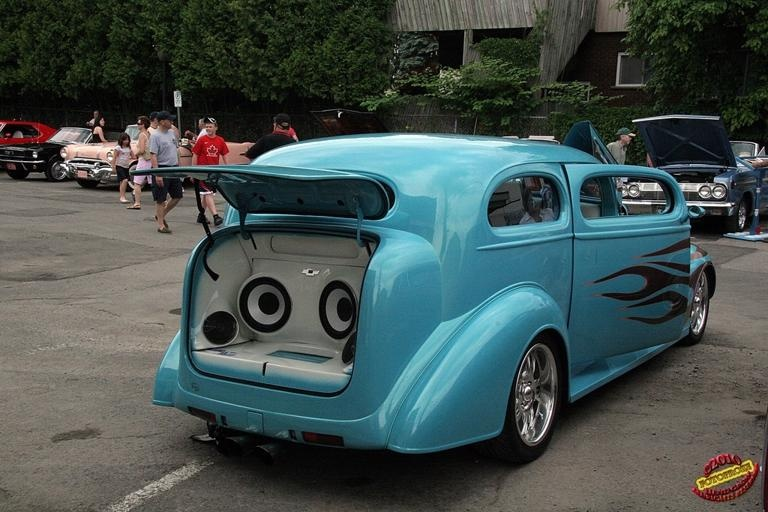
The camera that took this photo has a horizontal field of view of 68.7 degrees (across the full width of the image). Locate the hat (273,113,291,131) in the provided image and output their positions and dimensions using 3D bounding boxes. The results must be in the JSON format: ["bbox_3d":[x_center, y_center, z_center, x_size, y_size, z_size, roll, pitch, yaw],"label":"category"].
[{"bbox_3d":[-2.088,-2.777,11.553,0.340,0.277,0.475,2,40,-10],"label":"hat"}]

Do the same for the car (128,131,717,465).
[{"bbox_3d":[0.736,0.193,4.791,2.318,1.592,3.931,8,15,40],"label":"car"}]
